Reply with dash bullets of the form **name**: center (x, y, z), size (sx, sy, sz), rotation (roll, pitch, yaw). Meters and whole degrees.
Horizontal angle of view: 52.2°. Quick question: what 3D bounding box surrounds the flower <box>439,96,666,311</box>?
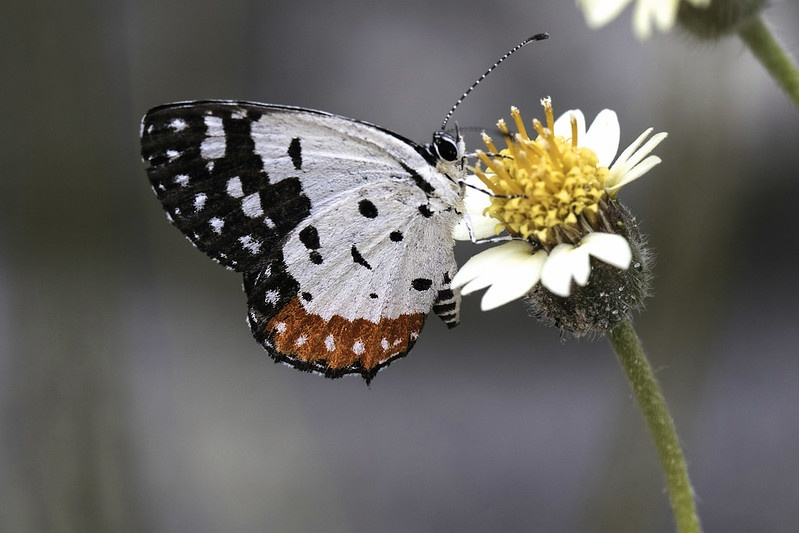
- **flower**: center (0.294, -0.096, 1.481), size (0.368, 0.394, 0.213), rotation (-35, -66, 31)
